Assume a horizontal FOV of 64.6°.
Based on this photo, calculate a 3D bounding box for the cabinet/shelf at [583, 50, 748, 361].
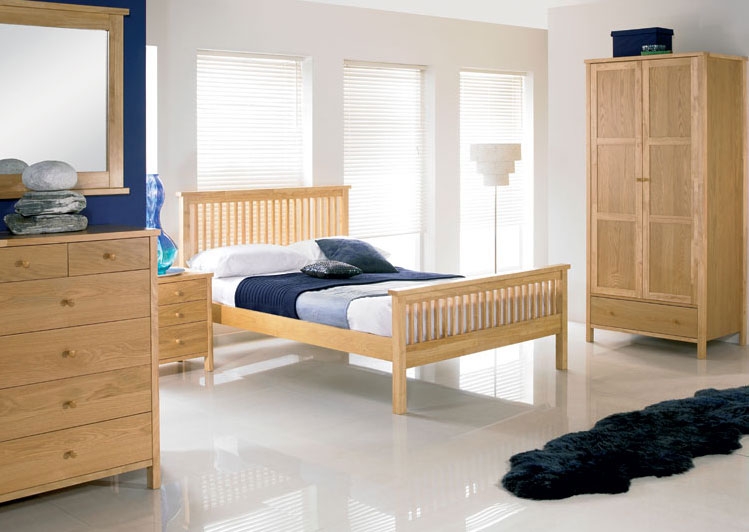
[{"bbox_3d":[2.608,-0.569,5.217,1.422,2.616,0.776,0,9,14],"label":"cabinet/shelf"}]

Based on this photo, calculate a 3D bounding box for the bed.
[{"bbox_3d":[-0.181,0.163,5.200,2.911,1.300,2.178,7,9,43],"label":"bed"}]
